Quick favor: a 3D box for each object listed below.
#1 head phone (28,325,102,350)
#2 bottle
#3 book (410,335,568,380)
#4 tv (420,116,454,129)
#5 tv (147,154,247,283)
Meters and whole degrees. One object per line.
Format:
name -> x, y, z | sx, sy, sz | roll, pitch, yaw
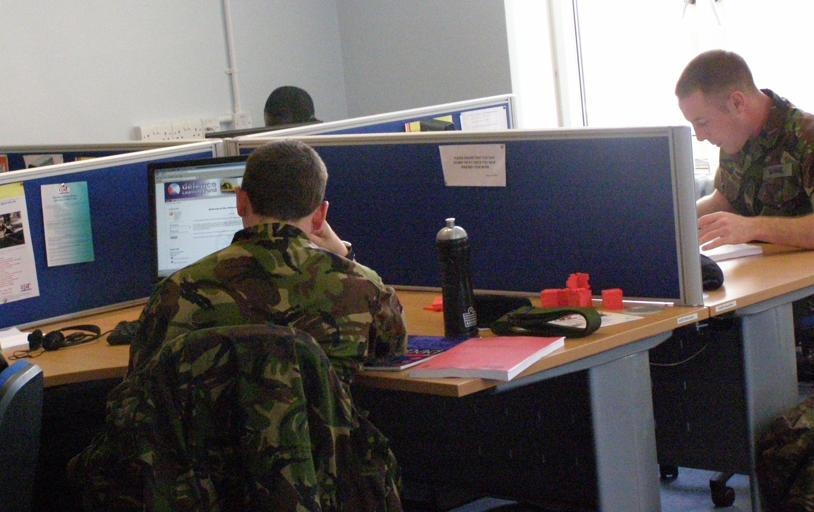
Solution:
head phone -> -1.238, 0.266, 2.328 | 0.103, 0.043, 0.167 | 4, 11, 30
bottle -> 0.156, 0.062, 1.988 | 0.110, 0.361, 0.137 | -2, 6, 5
book -> 0.233, 0.279, 1.801 | 0.382, 0.073, 0.257 | -9, 10, -44
tv -> 0.166, -0.681, 3.300 | 0.072, 0.067, 0.235 | 4, 9, 43
tv -> -0.778, -0.146, 2.524 | 0.505, 0.449, 0.034 | -3, -1, 20
